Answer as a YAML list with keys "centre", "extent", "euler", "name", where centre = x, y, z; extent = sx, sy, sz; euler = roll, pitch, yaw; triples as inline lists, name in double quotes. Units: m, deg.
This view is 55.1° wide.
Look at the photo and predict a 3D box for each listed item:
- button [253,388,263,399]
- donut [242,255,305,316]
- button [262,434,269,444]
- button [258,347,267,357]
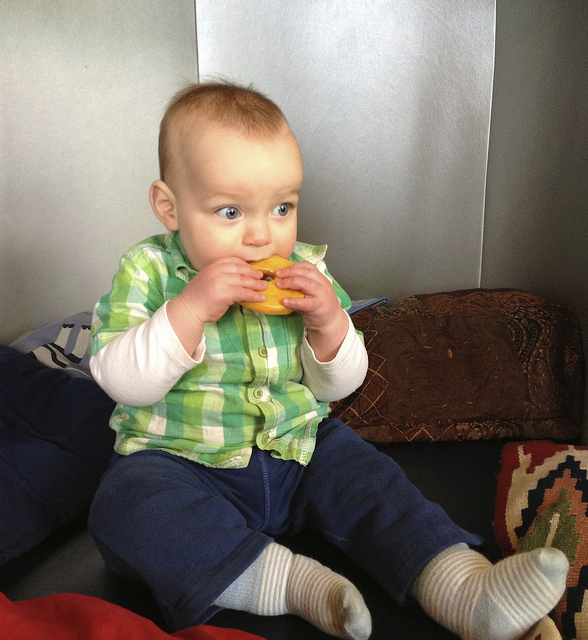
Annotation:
- centre: [-0.055, 0.112, 0.848]
  extent: [0.017, 0.016, 0.004]
  euler: [3, -8, -17]
  name: "button"
- centre: [-0.028, -0.041, 0.772]
  extent: [0.084, 0.019, 0.084]
  euler: [-22, 49, -38]
  name: "donut"
- centre: [-0.044, 0.179, 0.845]
  extent: [0.007, 0.011, 0.014]
  euler: [12, 29, 24]
  name: "button"
- centre: [-0.049, 0.050, 0.852]
  extent: [0.012, 0.013, 0.010]
  euler: [-3, 26, -5]
  name: "button"
